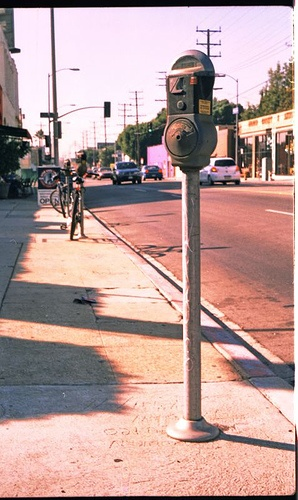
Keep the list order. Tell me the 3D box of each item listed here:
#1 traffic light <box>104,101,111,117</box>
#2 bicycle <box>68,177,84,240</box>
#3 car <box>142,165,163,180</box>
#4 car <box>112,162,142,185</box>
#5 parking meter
[{"bbox_3d":[-3.113,-10.837,44.922,0.425,1.203,1.943,-3,10,-7],"label":"traffic light"},{"bbox_3d":[-1.486,-0.899,12.144,0.352,1.303,1.190,-3,9,-6],"label":"bicycle"},{"bbox_3d":[0.374,-7.625,57.213,1.412,1.130,3.293,-1,9,-5],"label":"car"},{"bbox_3d":[-1.707,-6.013,45.429,2.172,1.651,2.382,-2,9,3],"label":"car"},{"bbox_3d":[0.212,-0.007,2.943,0.285,1.953,0.517,-1,8,8],"label":"parking meter"}]
